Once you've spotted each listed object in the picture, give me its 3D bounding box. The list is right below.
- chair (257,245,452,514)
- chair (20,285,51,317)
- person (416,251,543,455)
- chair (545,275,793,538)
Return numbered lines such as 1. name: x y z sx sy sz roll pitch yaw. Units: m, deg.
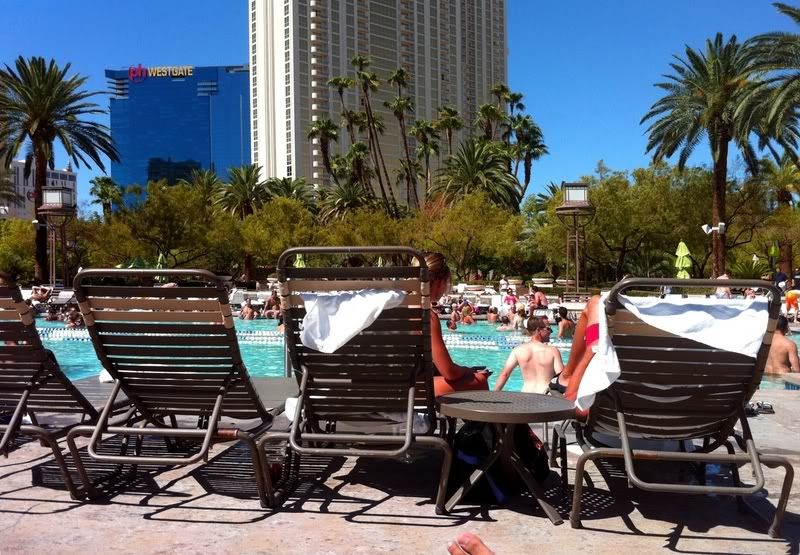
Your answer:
1. chair: -0.259 0.641 5.071 1.243 1.754 0.736 1 10 3
2. chair: -9.922 0.647 20.325 0.790 0.970 1.027 1 -13 -15
3. person: 0.520 0.601 5.765 1.208 1.561 0.573 -1 14 -25
4. chair: 1.836 0.783 4.852 1.341 1.626 0.739 3 10 13
